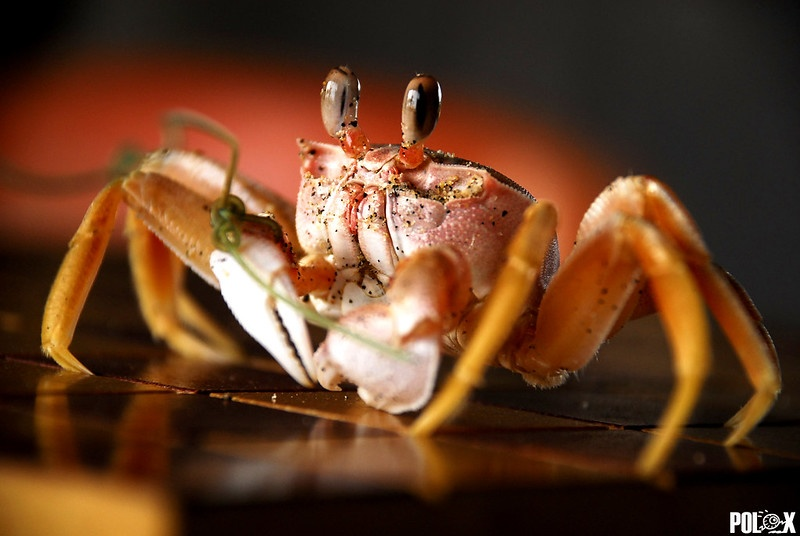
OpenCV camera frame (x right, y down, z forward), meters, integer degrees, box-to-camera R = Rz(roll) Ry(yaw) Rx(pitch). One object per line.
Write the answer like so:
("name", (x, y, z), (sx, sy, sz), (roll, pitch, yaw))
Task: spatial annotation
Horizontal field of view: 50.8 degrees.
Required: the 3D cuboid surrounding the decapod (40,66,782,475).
("decapod", (0.083, 0.004, 1.561), (0.807, 0.452, 0.374), (11, 97, 24))
